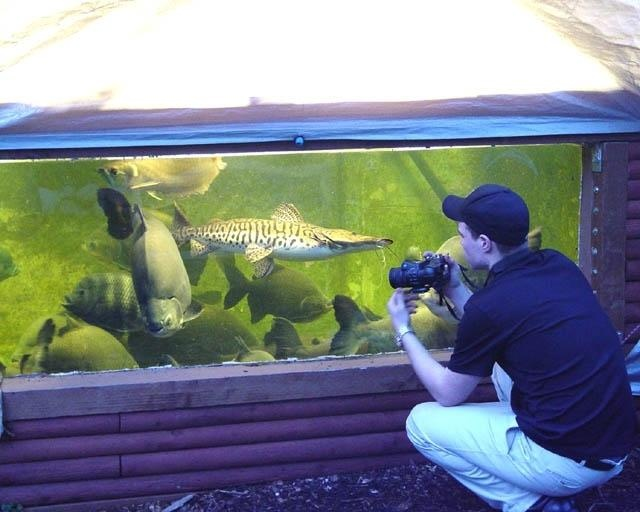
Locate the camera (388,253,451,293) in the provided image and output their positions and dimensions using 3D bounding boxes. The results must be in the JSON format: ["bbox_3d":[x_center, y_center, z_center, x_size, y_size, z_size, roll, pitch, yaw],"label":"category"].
[{"bbox_3d":[0.531,0.100,3.945,0.250,0.132,0.237,-4,4,40],"label":"camera"}]

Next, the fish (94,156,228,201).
[{"bbox_3d":[-0.828,-0.482,4.650,1.069,0.335,0.265,-1,7,-2],"label":"fish"}]

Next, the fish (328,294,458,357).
[{"bbox_3d":[0.480,0.498,4.892,0.737,0.395,0.212,9,35,15],"label":"fish"}]
